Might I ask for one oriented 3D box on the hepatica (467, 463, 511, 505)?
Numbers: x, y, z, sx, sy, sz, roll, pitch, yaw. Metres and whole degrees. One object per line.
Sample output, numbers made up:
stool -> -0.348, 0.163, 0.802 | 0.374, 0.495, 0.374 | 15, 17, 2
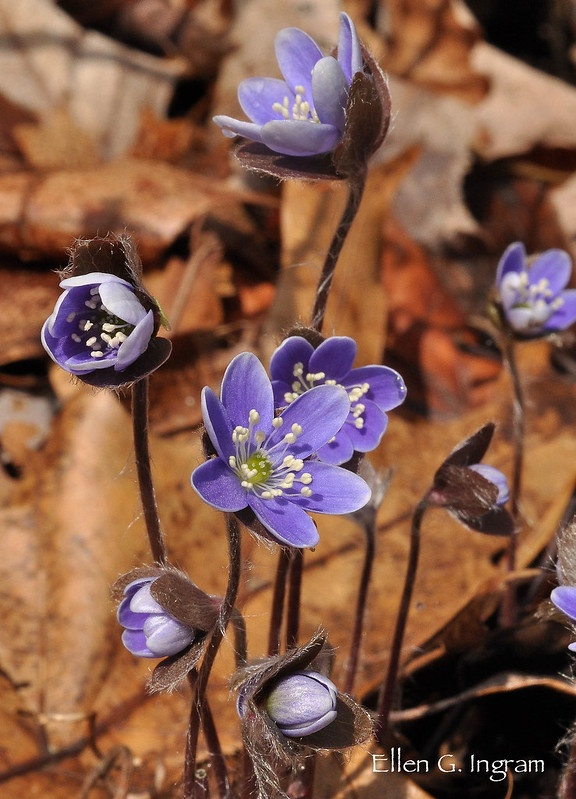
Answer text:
hepatica -> 0.233, 0.097, 0.955 | 0.056, 0.044, 0.017 | 40, 40, -16

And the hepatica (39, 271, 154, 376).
hepatica -> -0.191, -0.072, 0.837 | 0.111, 0.094, 0.093 | -8, 42, -5

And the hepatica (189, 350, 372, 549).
hepatica -> -0.001, 0.049, 0.818 | 0.161, 0.141, 0.172 | 3, 42, 6

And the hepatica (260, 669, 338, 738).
hepatica -> 0.014, 0.311, 0.835 | 0.085, 0.050, 0.064 | -8, 38, 23
